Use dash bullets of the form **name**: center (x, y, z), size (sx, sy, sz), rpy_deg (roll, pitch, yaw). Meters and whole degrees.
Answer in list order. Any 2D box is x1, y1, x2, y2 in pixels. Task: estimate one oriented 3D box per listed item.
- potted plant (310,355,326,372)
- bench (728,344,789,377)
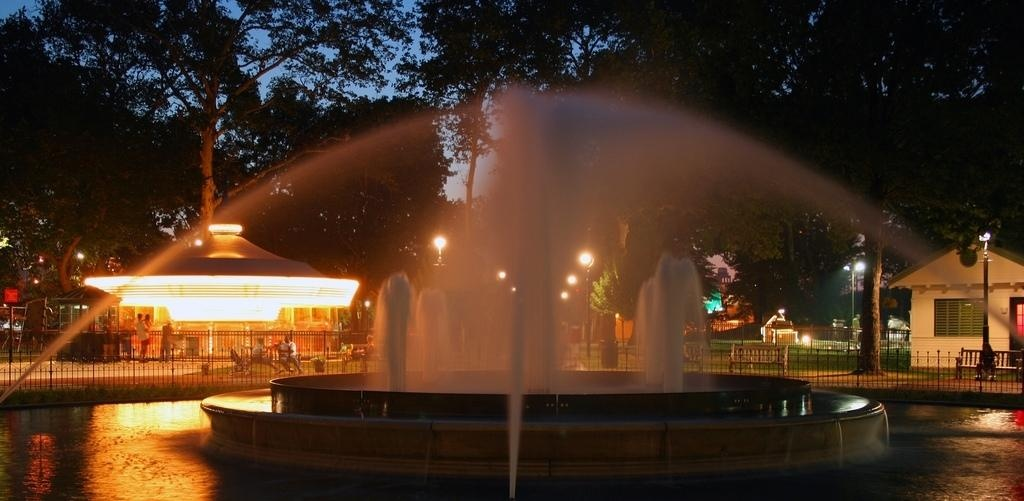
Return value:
- **potted plant**: center (-10.370, 6.136, 46.920), size (0.923, 0.995, 0.858), rpy_deg (-1, -7, 8)
- **bench**: center (13.755, 6.026, 48.664), size (3.258, 1.525, 1.095), rpy_deg (-1, 7, 9)
